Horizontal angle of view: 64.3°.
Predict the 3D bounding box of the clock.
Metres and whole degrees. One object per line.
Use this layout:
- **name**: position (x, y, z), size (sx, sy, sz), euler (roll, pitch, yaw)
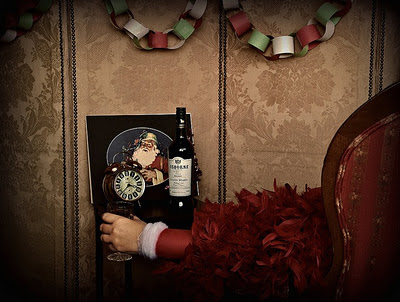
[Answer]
- **clock**: position (-0.378, 0.147, 1.562), size (0.188, 0.281, 0.127), euler (3, 9, -7)
